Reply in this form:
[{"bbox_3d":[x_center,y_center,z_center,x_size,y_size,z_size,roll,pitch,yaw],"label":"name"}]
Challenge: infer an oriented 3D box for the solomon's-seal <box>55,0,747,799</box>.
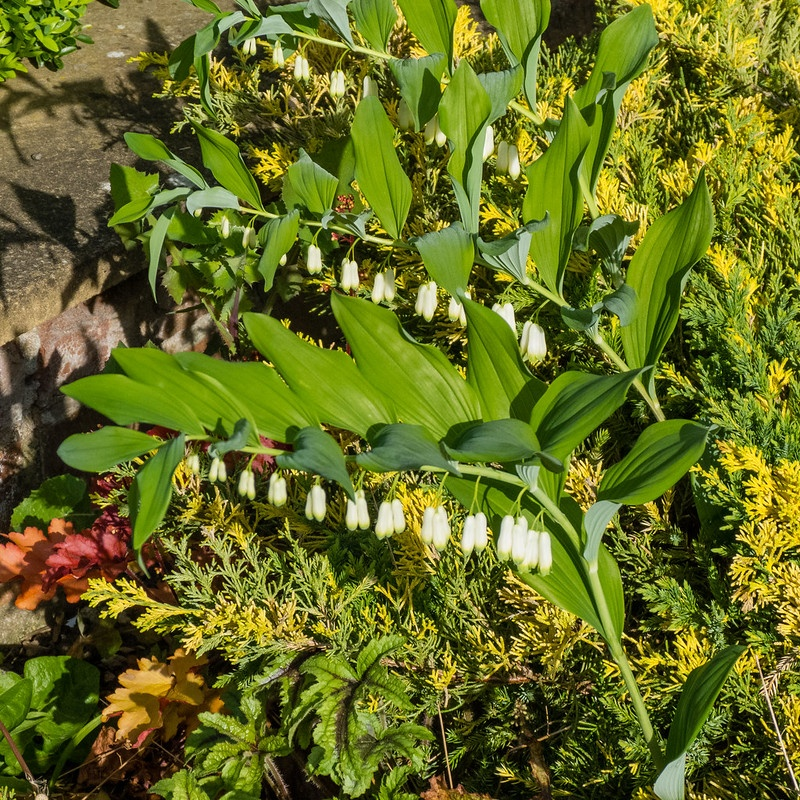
[{"bbox_3d":[-0.049,-0.094,2.199,1.273,0.460,1.802,-29,78,-23],"label":"solomon's-seal"}]
